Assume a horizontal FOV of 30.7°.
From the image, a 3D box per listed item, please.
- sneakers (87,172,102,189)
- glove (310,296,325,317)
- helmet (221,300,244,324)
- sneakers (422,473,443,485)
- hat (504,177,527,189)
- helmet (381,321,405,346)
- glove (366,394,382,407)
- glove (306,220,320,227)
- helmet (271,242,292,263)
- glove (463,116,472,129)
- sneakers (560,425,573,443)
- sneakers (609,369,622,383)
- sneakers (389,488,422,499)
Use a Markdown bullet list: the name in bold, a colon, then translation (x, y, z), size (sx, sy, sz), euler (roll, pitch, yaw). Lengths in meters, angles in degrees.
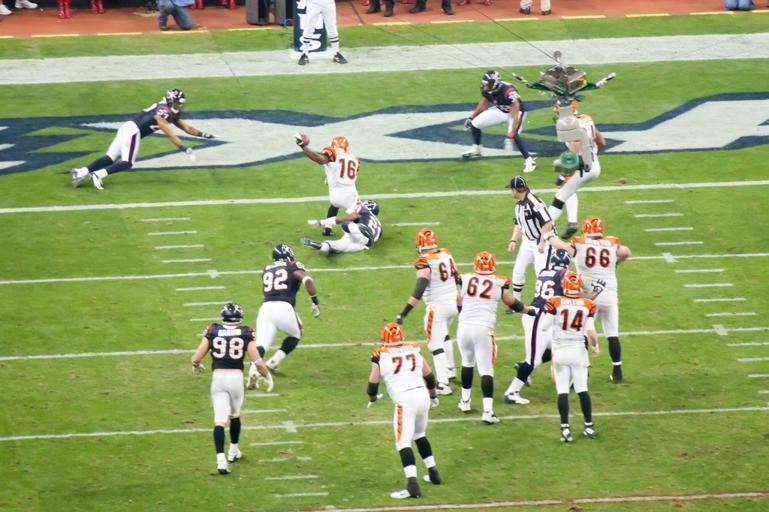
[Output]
- **sneakers**: translation (-6.313, -1.670, 30.848), size (0.307, 0.366, 0.146), euler (-19, 20, 34)
- **glove**: translation (-1.244, 0.880, 25.131), size (0.168, 0.377, 0.177), euler (-11, 4, 29)
- **helmet**: translation (-2.488, 0.898, 23.029), size (0.387, 0.297, 0.423), euler (0, 6, -4)
- **sneakers**: translation (0.758, 3.527, 22.492), size (0.356, 0.103, 0.109), euler (13, 32, 15)
- **hat**: translation (2.431, -1.388, 25.906), size (0.255, 0.162, 0.356), euler (-26, 40, -31)
- **helmet**: translation (0.106, 1.212, 22.582), size (0.391, 0.318, 0.413), euler (0, 9, -5)
- **glove**: translation (-0.189, 2.403, 23.709), size (0.190, 0.110, 0.462), euler (-7, 3, 28)
- **glove**: translation (-1.465, -0.692, 28.797), size (0.236, 0.090, 0.259), euler (1, 0, 4)
- **helmet**: translation (-1.783, -0.081, 24.949), size (0.409, 0.267, 0.330), euler (-23, 19, -24)
- **glove**: translation (1.919, -3.062, 32.054), size (0.233, 0.276, 0.117), euler (22, 44, -21)
- **sneakers**: translation (3.020, 2.920, 23.182), size (0.161, 0.140, 0.379), euler (-1, 19, -3)
- **sneakers**: translation (4.090, 2.085, 24.661), size (0.150, 0.192, 0.345), euler (-1, 9, 5)
- **sneakers**: translation (0.319, 3.705, 22.150), size (0.546, 0.140, 0.162), euler (3, -3, 4)
